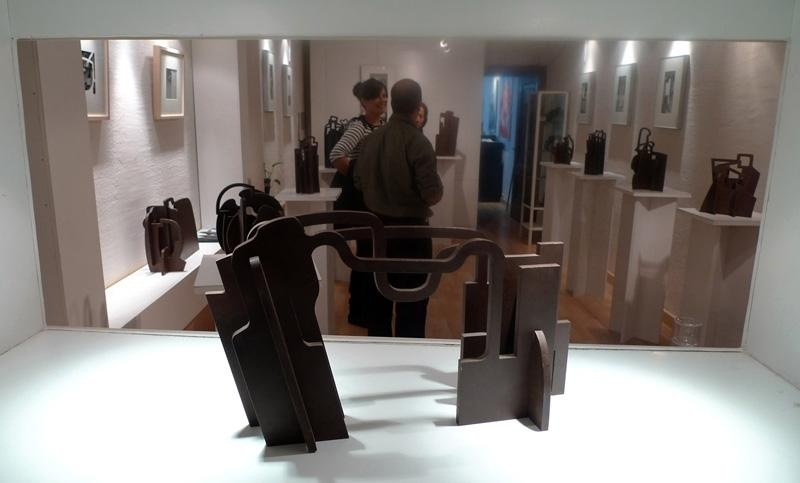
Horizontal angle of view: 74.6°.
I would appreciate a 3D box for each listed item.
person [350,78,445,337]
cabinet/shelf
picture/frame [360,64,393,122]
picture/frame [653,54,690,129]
[{"bbox_3d":[-0.016,-0.112,2.675,0.440,1.382,0.399,0,17,0],"label":"person"},{"bbox_3d":[0.833,-0.440,3.038,0.254,0.817,0.137,0,17,-1],"label":"cabinet/shelf"},{"bbox_3d":[-0.121,-0.751,2.688,0.165,0.273,0.019,-9,23,-27],"label":"picture/frame"},{"bbox_3d":[1.621,-0.892,3.151,0.042,0.391,0.177,-9,17,-22],"label":"picture/frame"}]
